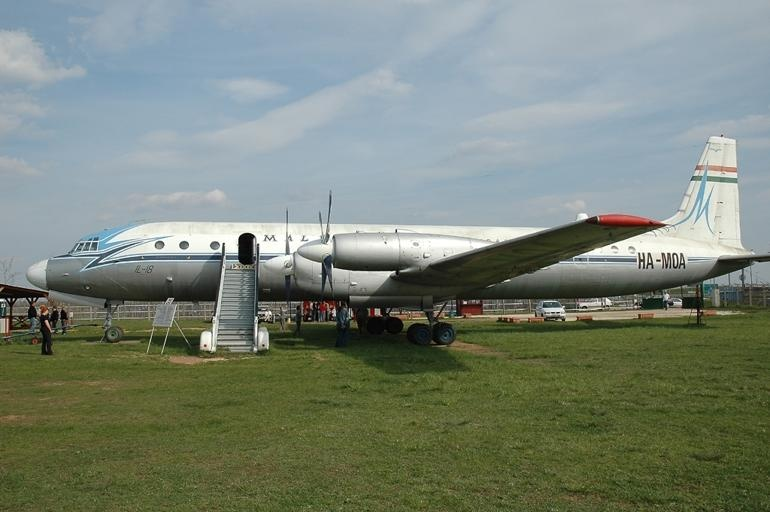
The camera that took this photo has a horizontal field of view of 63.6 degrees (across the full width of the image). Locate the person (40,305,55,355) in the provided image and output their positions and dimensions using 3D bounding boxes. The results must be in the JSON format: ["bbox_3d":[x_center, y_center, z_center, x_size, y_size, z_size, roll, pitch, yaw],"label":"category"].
[{"bbox_3d":[-12.424,2.685,22.816,0.406,1.748,1.380,-1,1,-27],"label":"person"}]

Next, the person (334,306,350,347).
[{"bbox_3d":[-1.645,2.607,23.272,0.475,1.530,1.022,-1,1,-5],"label":"person"}]

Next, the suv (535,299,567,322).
[{"bbox_3d":[10.646,3.492,40.074,1.660,0.801,3.094,0,3,5],"label":"suv"}]

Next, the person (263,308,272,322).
[{"bbox_3d":[-7.994,4.168,42.385,0.644,0.693,0.397,-2,23,-4],"label":"person"}]
